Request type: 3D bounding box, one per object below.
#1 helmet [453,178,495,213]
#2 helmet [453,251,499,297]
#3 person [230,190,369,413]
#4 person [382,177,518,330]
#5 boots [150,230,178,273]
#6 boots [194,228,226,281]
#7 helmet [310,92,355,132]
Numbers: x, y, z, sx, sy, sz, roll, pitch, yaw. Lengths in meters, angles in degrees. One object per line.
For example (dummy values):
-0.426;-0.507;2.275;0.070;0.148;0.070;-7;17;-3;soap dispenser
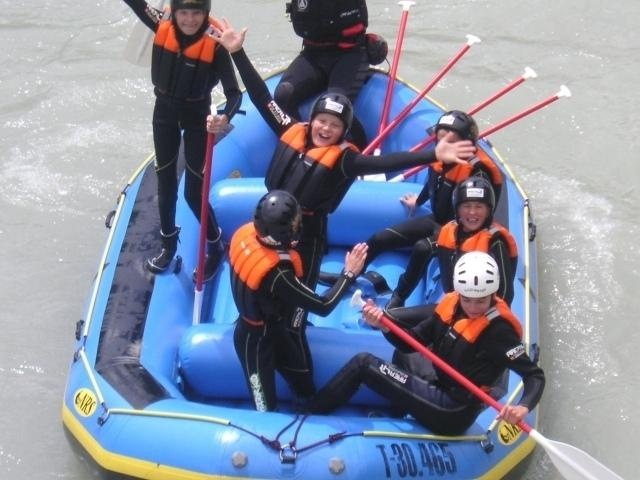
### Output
1.066;-0.311;6.213;0.205;0.251;0.229;0;53;8;helmet
1.022;0.256;5.706;0.277;0.237;0.388;-3;20;32;helmet
-0.162;0.481;6.026;0.698;1.373;0.597;-26;57;-15;person
0.933;0.149;6.248;0.887;1.084;0.880;9;13;25;person
-1.129;0.108;6.589;0.155;0.230;0.322;17;41;-13;boots
-0.895;0.125;6.823;0.151;0.247;0.423;16;73;7;boots
0.073;-0.849;6.074;0.244;0.321;0.284;17;90;2;helmet
